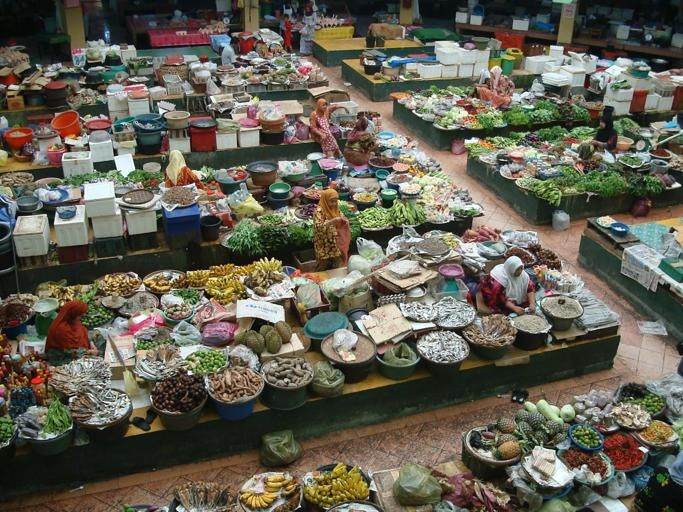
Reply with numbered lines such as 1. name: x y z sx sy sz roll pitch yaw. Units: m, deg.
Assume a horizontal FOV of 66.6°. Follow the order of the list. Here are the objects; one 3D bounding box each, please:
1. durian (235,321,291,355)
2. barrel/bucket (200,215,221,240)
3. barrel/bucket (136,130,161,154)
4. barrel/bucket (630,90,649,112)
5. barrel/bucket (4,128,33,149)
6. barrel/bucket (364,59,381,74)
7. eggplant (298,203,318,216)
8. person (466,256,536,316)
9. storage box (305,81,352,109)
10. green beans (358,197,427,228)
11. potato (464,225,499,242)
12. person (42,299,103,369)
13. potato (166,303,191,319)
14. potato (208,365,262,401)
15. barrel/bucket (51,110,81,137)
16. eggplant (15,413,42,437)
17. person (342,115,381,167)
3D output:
1. durian: -0.947 1.012 6.335 0.685 0.291 0.366 -6 28 -10
2. barrel/bucket: -2.084 -0.429 8.337 0.425 0.265 0.399 0 30 0
3. barrel/bucket: -3.826 -2.250 10.364 0.615 0.341 0.480 3 34 -4
4. barrel/bucket: 7.430 -3.870 13.049 0.575 0.556 0.191 -13 34 -20
5. barrel/bucket: -6.337 -2.349 10.229 0.555 0.269 0.485 -11 30 -26
6. barrel/bucket: 0.909 -5.514 15.200 0.482 0.407 0.474 -1 28 0
7. eggplant: -0.594 -0.771 8.796 0.291 0.082 0.235 -3 22 -10
8. person: 2.215 0.405 7.014 0.862 0.814 0.521 10 33 20
9. storage box: -0.319 -4.034 13.085 1.307 0.382 1.090 -11 29 -15
10. green beans: 0.878 -0.700 8.909 1.185 0.412 0.547 -3 28 -5
11. potato: 2.276 -0.355 8.442 0.487 0.108 0.295 -1 22 1
12. person: -3.369 0.877 6.468 0.841 0.756 0.667 -11 37 -22
13. potato: -2.146 0.753 6.888 0.256 0.075 0.206 3 23 2
14. potato: -1.197 1.445 5.796 0.575 0.149 0.500 13 29 27
15. barrel/bucket: -5.578 -2.656 10.548 0.527 0.433 0.748 -13 29 -20
16. eggplant: -3.211 1.754 5.371 0.185 0.097 0.266 -13 43 -30
17. person: 0.482 -2.555 11.206 0.638 0.894 1.594 5 27 10
